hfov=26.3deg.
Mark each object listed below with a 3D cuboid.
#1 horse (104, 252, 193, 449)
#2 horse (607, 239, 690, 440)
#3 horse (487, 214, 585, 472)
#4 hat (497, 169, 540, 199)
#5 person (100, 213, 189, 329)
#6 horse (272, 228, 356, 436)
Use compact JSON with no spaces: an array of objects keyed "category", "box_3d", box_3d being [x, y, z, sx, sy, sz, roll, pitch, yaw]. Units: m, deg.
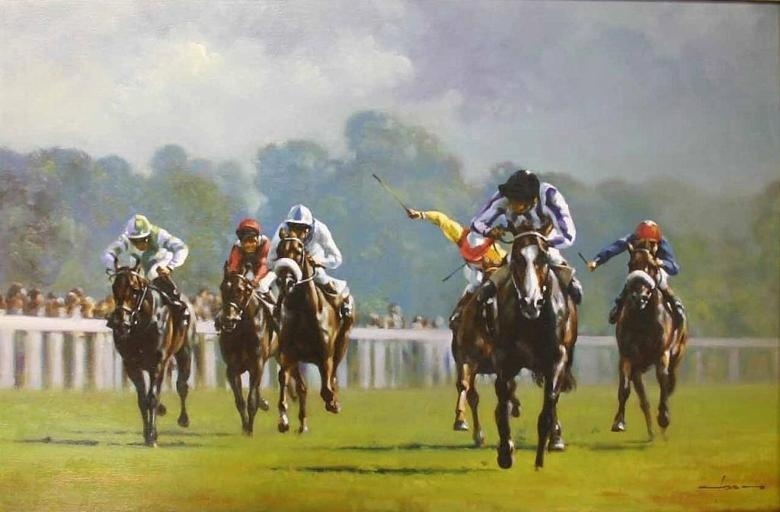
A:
[{"category":"horse","box_3d":[-3.687,1.470,25.690,0.634,2.787,1.389,-6,-8,31]},{"category":"horse","box_3d":[4.090,1.284,26.001,1.001,3.012,0.836,2,-8,-31]},{"category":"horse","box_3d":[2.155,1.230,24.624,1.214,3.558,1.473,-3,-7,3]},{"category":"hat","box_3d":[1.993,-1.159,25.174,0.426,0.429,0.529,5,10,14]},{"category":"person","box_3d":[-3.896,0.150,26.347,1.227,1.688,0.971,-12,17,-19]},{"category":"horse","box_3d":[-1.117,1.025,25.147,1.178,3.118,1.656,-2,-7,-3]}]
